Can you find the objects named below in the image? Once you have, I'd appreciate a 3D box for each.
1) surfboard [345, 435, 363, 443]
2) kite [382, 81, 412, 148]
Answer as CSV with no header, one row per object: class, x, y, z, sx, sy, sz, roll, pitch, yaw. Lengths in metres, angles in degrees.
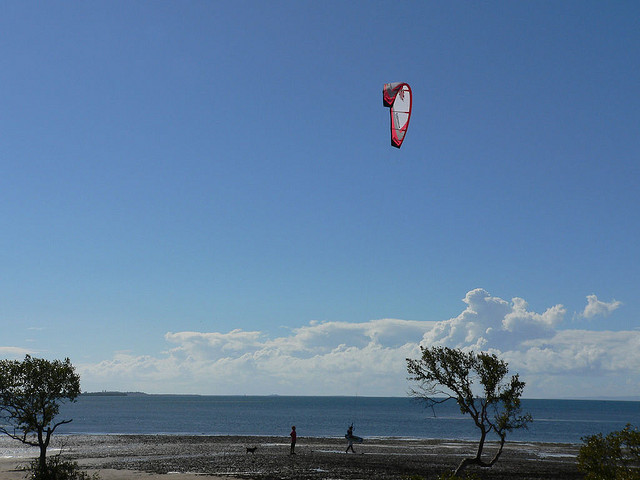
surfboard,4.372,25.032,88.219,1.281,0.688,1.977,7,-10,6
kite,7.846,-12.459,69.465,3.366,6.682,1.183,-12,23,-33
